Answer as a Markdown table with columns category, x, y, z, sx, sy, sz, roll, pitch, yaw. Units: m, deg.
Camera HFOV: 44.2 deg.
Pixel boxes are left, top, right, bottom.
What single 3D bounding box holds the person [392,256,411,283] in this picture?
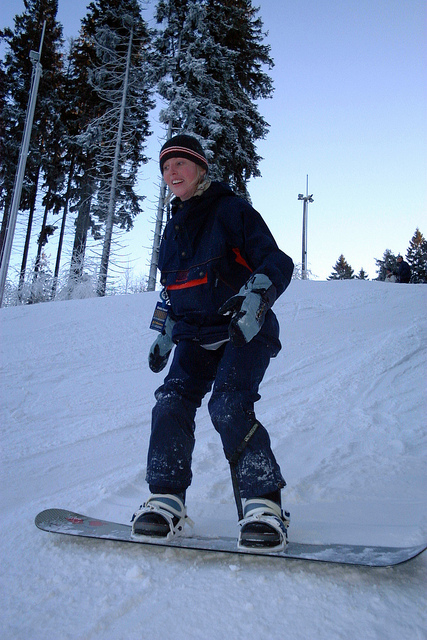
| category | x | y | z | sx | sy | sz | roll | pitch | yaw |
| --- | --- | --- | --- | --- | --- | --- | --- | --- | --- |
| person | 6.387 | -1.724 | 17.774 | 0.486 | 0.965 | 2.180 | -2 | 0 | 20 |

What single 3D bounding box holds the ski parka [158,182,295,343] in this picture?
| category | x | y | z | sx | sy | sz | roll | pitch | yaw |
| --- | --- | --- | --- | --- | --- | --- | --- | --- | --- |
| ski parka | 0.001 | -0.269 | 2.468 | 0.757 | 0.755 | 0.380 | -11 | -9 | 42 |

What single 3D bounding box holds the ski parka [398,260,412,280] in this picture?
| category | x | y | z | sx | sy | sz | roll | pitch | yaw |
| --- | --- | --- | --- | --- | --- | --- | --- | --- | --- |
| ski parka | 6.425 | -1.680 | 17.746 | 0.399 | 0.674 | 0.830 | -2 | 0 | 19 |

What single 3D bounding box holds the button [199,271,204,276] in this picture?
| category | x | y | z | sx | sy | sz | roll | pitch | yaw |
| --- | --- | --- | --- | --- | --- | --- | --- | --- | --- |
| button | -0.054 | -0.204 | 2.294 | 0.017 | 0.017 | 0.003 | 25 | 0 | 29 |

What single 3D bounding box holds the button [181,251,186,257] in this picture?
| category | x | y | z | sx | sy | sz | roll | pitch | yaw |
| --- | --- | --- | --- | --- | --- | --- | --- | --- | --- |
| button | -0.138 | -0.303 | 2.420 | 0.025 | 0.025 | 0.006 | 5 | -2 | 15 |

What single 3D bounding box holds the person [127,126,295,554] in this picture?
| category | x | y | z | sx | sy | sz | roll | pitch | yaw |
| --- | --- | --- | --- | --- | --- | --- | --- | --- | --- |
| person | -0.022 | -0.022 | 2.209 | 0.711 | 1.716 | 1.107 | -2 | 0 | 1 |
